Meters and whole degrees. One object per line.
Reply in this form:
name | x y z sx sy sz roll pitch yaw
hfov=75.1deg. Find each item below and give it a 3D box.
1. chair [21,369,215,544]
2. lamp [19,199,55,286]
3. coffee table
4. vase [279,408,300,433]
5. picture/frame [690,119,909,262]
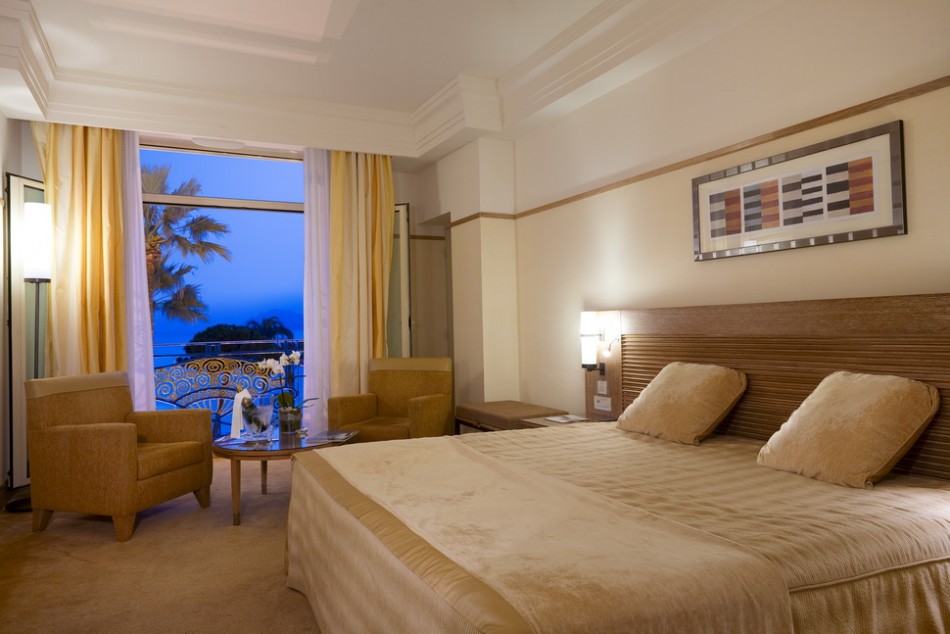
chair | -2.804 1.032 4.987 1.014 1.112 1.164 0 -1 -2
lamp | -3.810 -0.649 5.384 0.243 0.668 0.252 -7 9 -34
coffee table | -1.482 1.085 4.871 0.878 0.442 0.874 -1 1 -31
vase | -1.460 0.808 4.880 0.162 0.172 0.179 5 -7 -40
picture/frame | 2.088 -0.788 3.886 0.050 0.544 1.075 2 -5 -40
